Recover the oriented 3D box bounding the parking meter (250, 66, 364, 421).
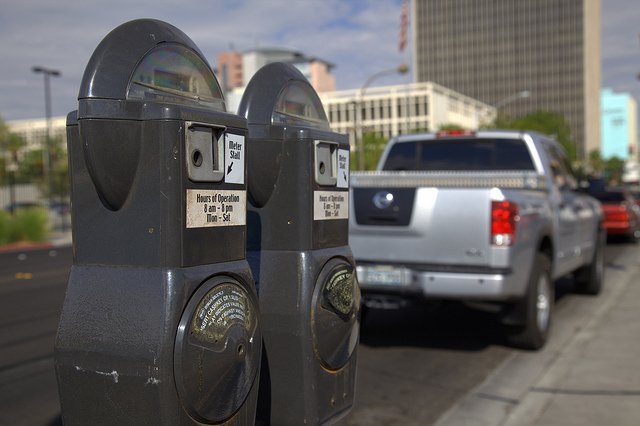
[{"bbox_3d":[-0.117,0.198,5.082,0.812,2.780,0.651,-2,3,-8],"label":"parking meter"}]

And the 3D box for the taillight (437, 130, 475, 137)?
[{"bbox_3d":[1.725,-1.014,8.206,0.463,0.072,0.150,-1,4,16],"label":"taillight"}]

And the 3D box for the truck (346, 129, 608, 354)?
[{"bbox_3d":[1.990,0.220,7.932,1.813,2.518,3.696,2,5,42],"label":"truck"}]

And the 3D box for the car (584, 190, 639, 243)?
[{"bbox_3d":[7.037,0.034,15.453,1.112,1.310,2.731,0,4,16],"label":"car"}]

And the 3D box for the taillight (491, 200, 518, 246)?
[{"bbox_3d":[1.877,0.095,6.574,0.274,0.470,0.052,-2,3,-13],"label":"taillight"}]
